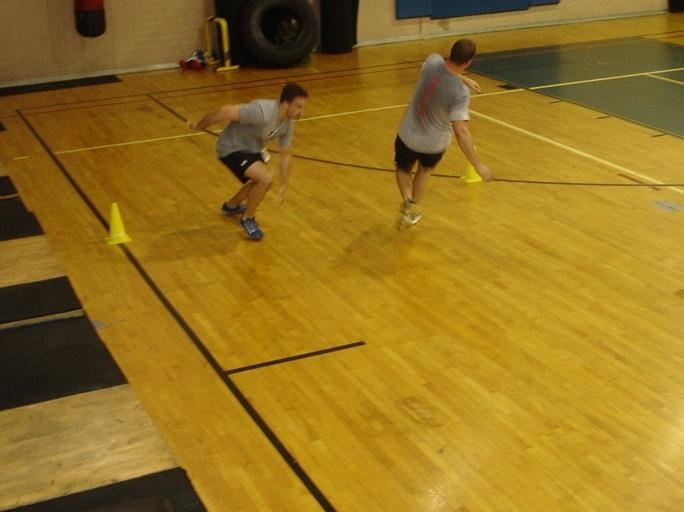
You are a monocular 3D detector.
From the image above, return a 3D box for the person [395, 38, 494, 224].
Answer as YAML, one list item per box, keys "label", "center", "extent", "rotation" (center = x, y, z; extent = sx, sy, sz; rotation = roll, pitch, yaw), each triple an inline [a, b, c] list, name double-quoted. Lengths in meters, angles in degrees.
- label: "person"
  center: [0.816, -0.976, 5.055]
  extent: [0.981, 1.629, 0.460]
  rotation: [24, 41, 35]

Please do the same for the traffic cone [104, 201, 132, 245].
- label: "traffic cone"
  center: [-2.078, -0.274, 5.419]
  extent: [0.291, 0.359, 0.265]
  rotation: [-12, 41, -25]

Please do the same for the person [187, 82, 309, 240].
- label: "person"
  center: [-0.859, -0.901, 5.291]
  extent: [0.967, 1.359, 0.721]
  rotation: [22, 27, 14]

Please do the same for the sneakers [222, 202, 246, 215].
- label: "sneakers"
  center: [-1.059, -0.439, 5.674]
  extent: [0.270, 0.108, 0.088]
  rotation: [-5, 71, -13]
